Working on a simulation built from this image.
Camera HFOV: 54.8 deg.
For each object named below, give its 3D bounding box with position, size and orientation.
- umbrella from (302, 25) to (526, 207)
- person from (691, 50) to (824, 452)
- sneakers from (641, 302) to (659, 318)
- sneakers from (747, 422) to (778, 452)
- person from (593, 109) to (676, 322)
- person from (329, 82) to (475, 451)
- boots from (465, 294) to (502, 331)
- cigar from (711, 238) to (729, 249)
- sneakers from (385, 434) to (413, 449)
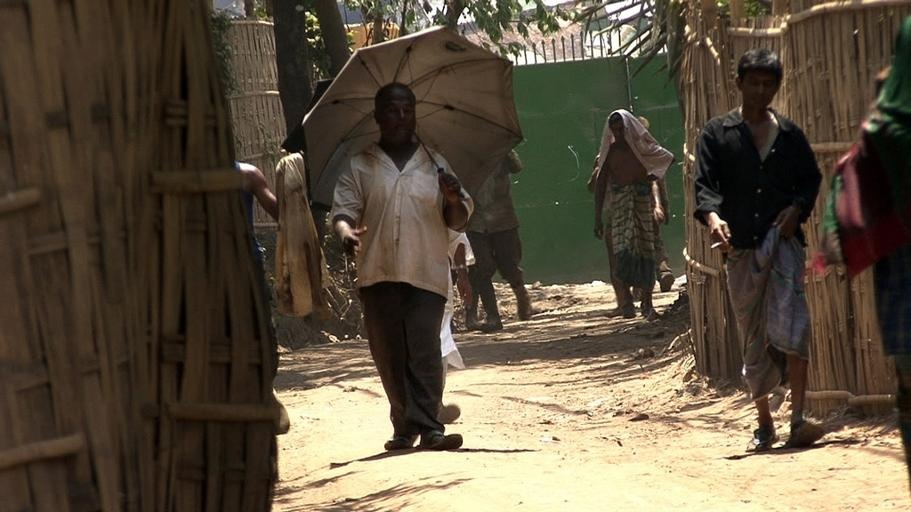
[{"bbox_3d":[-0.312,-1.152,6.462,1.452,1.448,0.468,-7,37,-29],"label":"umbrella"},{"bbox_3d":[2.059,-0.060,5.955,0.797,2.671,0.524,-2,4,22],"label":"person"},{"bbox_3d":[2.544,0.734,11.510,0.104,0.130,0.308,3,13,1],"label":"sneakers"},{"bbox_3d":[2.088,1.236,6.004,0.123,0.134,0.340,-5,-4,23],"label":"sneakers"},{"bbox_3d":[2.379,-0.547,11.833,1.022,2.757,1.445,-3,3,9],"label":"person"},{"bbox_3d":[-0.360,0.244,6.214,0.953,2.206,0.584,-4,3,-7],"label":"person"},{"bbox_3d":[0.387,0.854,12.495,0.607,0.688,0.727,1,-2,-1],"label":"boots"},{"bbox_3d":[1.797,-0.087,5.957,0.059,0.068,0.303,-19,-6,5],"label":"cigar"},{"bbox_3d":[-0.401,1.318,6.186,0.208,0.094,0.247,-4,3,-5],"label":"sneakers"}]
